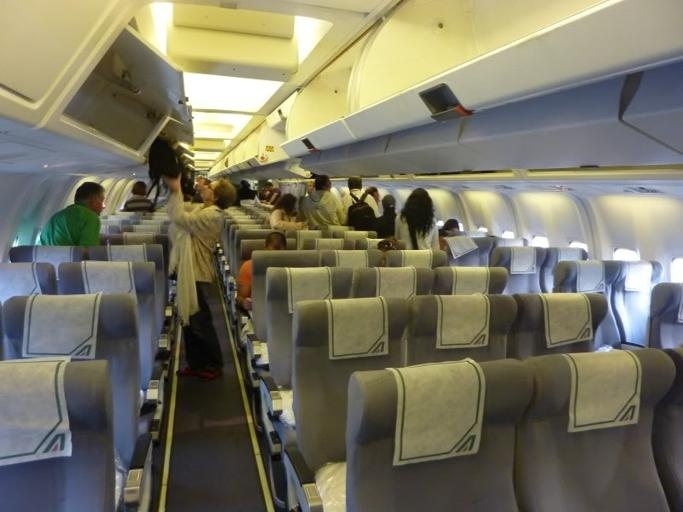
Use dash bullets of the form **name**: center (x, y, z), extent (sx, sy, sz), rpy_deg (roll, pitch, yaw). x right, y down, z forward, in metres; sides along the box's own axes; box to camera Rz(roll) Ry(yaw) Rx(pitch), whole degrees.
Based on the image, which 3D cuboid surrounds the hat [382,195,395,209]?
- **hat**: center (0.820, -0.950, 8.300), extent (0.175, 0.237, 0.236), rpy_deg (2, 15, 1)

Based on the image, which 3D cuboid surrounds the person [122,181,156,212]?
- **person**: center (-4.814, -1.411, 11.389), extent (0.515, 0.774, 0.930), rpy_deg (-2, 13, -24)

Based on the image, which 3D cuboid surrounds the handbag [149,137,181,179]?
- **handbag**: center (-1.739, -0.952, 4.757), extent (0.272, 0.393, 0.457), rpy_deg (-3, 13, -25)
